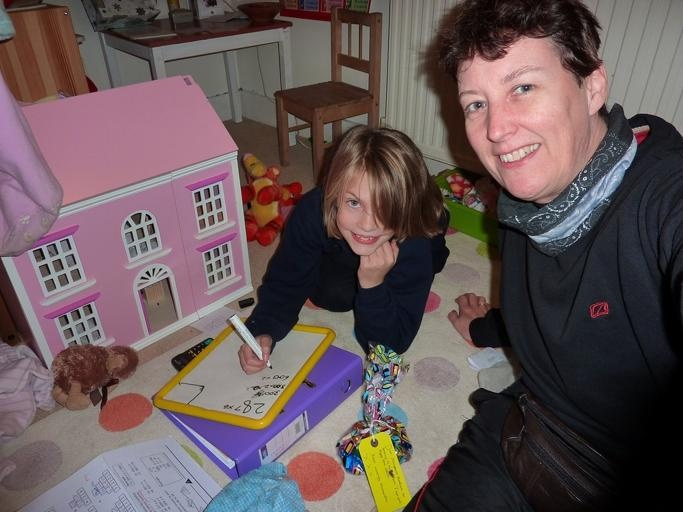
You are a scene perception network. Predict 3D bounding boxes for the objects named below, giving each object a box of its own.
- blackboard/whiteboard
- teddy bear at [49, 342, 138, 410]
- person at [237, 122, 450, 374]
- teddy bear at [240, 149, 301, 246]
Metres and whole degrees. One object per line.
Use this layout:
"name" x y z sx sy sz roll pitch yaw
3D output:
"blackboard/whiteboard" -0.270 0.316 1.350 0.353 0.070 0.417 15 35 24
"teddy bear" -0.754 0.315 1.434 0.220 0.171 0.223 4 24 -27
"person" 0.106 -0.102 1.481 0.518 0.661 0.833 22 55 4
"teddy bear" -0.295 -0.219 2.144 0.279 0.435 0.323 2 34 0
